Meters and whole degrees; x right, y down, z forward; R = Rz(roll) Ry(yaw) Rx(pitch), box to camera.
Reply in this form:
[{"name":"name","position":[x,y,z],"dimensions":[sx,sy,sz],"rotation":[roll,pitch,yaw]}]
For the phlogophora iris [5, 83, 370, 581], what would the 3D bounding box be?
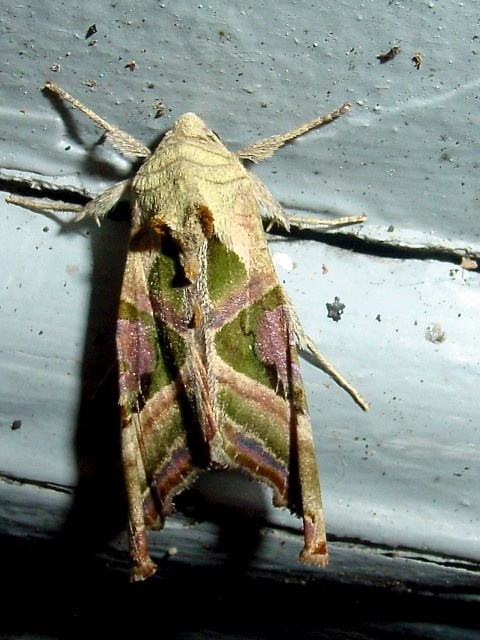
[{"name":"phlogophora iris","position":[-0.131,0.037,3.289],"dimensions":[1.608,1.573,0.562],"rotation":[-6,-2,1]}]
